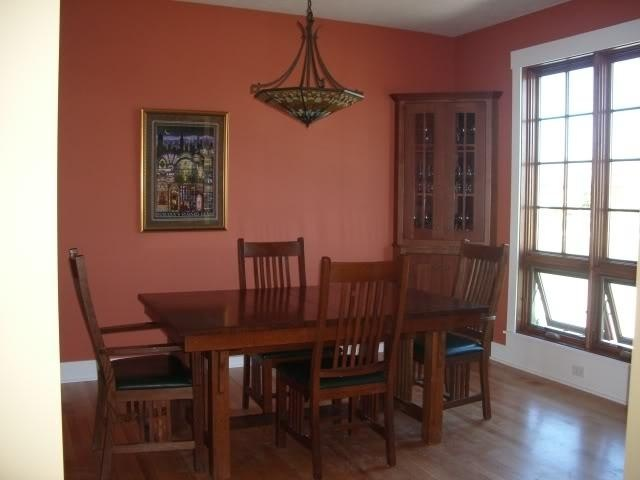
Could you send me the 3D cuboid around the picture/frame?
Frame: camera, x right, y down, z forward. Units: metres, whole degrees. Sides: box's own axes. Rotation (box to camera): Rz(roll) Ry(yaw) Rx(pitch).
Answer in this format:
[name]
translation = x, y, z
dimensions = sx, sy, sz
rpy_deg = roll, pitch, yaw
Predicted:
[picture/frame]
translation = -1.167, -0.617, 4.394
dimensions = 0.933, 1.437, 0.072
rpy_deg = 0, 8, -16
